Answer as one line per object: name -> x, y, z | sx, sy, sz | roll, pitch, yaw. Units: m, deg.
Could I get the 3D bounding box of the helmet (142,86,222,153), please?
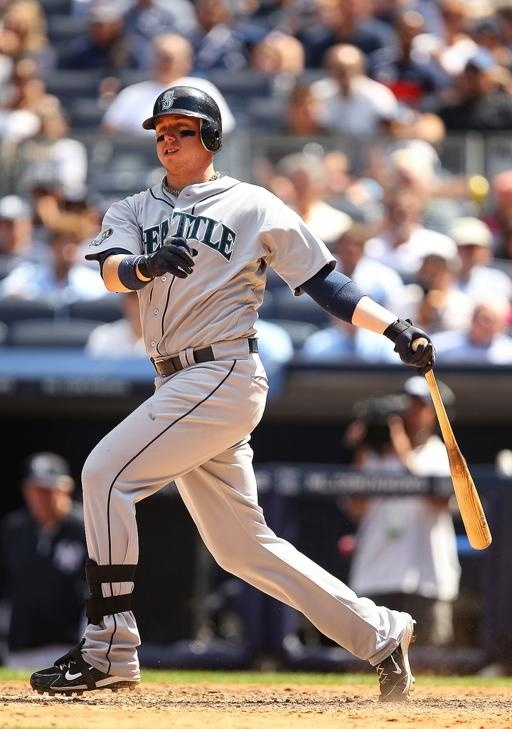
helmet -> -0.209, -0.694, 3.281 | 0.226, 0.188, 0.187 | -6, 21, -4

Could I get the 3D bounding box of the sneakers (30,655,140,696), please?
sneakers -> -0.483, 0.832, 3.136 | 0.306, 0.121, 0.093 | 1, -21, -26

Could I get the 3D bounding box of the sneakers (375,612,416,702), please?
sneakers -> 0.410, 0.860, 3.381 | 0.160, 0.246, 0.096 | 0, 6, 1

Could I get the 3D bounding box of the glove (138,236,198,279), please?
glove -> -0.231, -0.275, 3.013 | 0.159, 0.112, 0.129 | -7, 21, -7

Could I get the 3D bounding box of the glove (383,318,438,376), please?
glove -> 0.424, -0.052, 3.158 | 0.131, 0.152, 0.078 | -40, -3, 11

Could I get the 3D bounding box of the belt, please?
belt -> -0.140, -0.017, 3.208 | 0.300, 0.118, 0.144 | -4, 20, -2
